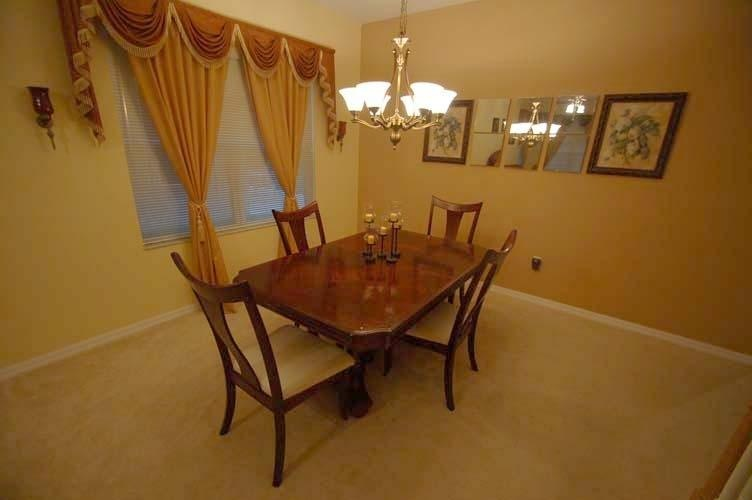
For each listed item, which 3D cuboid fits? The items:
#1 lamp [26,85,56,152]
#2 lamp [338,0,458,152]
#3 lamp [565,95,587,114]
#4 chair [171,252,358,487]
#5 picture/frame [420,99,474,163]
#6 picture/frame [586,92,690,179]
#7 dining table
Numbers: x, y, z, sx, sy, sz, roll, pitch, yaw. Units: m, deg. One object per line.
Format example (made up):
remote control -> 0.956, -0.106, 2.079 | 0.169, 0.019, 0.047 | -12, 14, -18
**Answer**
lamp -> -2.818, -1.153, 4.139 | 0.147, 0.444, 0.070 | -17, 20, -30
lamp -> 0.268, -1.940, 5.231 | 1.206, 1.871, 1.198 | 18, 24, 39
lamp -> 2.022, -1.451, 4.911 | 0.128, 0.189, 0.064 | 14, 11, 24
chair -> -0.814, 0.861, 3.851 | 1.002, 1.693, 0.856 | 14, 23, 32
picture/frame -> 0.800, -1.291, 5.243 | 0.536, 0.814, 0.025 | 21, 27, 32
picture/frame -> 2.572, -1.129, 4.709 | 0.671, 0.859, 0.036 | 17, 28, 31
dining table -> -0.230, -0.036, 3.864 | 1.323, 0.856, 2.038 | 17, 31, 32
